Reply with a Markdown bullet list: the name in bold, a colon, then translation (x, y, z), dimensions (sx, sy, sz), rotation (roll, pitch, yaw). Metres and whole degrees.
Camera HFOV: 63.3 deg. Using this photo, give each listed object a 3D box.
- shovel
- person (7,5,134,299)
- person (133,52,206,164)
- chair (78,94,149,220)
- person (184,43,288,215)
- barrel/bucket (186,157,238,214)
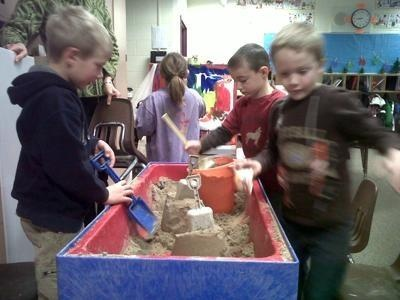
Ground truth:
- **shovel**: translation (-0.354, 0.201, 1.550), dimensions (0.047, 0.455, 0.200), rotation (-26, 22, 21)
- **person**: translation (-0.542, 0.013, 1.341), dimensions (0.456, 1.194, 0.349), rotation (-8, 14, -28)
- **person**: translation (-0.271, -0.148, 2.932), dimensions (0.615, 1.413, 0.531), rotation (-8, 29, -20)
- **chair**: translation (-0.619, 0.044, 2.380), dimensions (0.351, 0.663, 0.448), rotation (-8, 27, -25)
- **person**: translation (0.215, -0.186, 2.509), dimensions (0.851, 1.674, 0.622), rotation (2, 0, -7)
- **barrel/bucket**: translation (0.065, 0.189, 1.732), dimensions (0.227, 0.230, 0.235), rotation (-9, -1, 0)
